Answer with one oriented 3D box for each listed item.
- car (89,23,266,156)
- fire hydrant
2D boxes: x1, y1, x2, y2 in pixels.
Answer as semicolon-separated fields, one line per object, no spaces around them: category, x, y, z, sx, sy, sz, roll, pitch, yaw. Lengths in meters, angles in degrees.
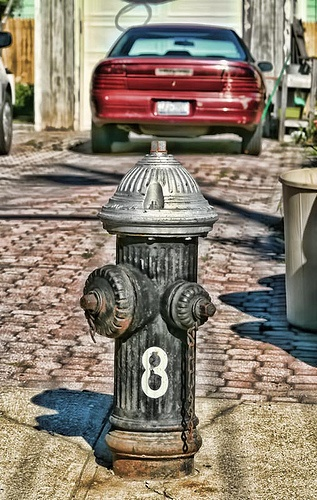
car;0.237;-2.282;8.706;2.321;1.577;1.805;-2;13;-4
fire hydrant;-0.028;0.210;2.477;0.489;1.215;0.489;-1;14;4
